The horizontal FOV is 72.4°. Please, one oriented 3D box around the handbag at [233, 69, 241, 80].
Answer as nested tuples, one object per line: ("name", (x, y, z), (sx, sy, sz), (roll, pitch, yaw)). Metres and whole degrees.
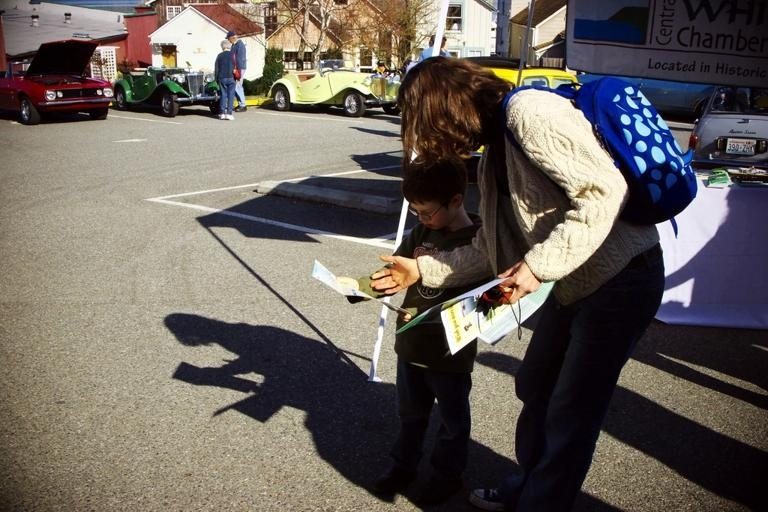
("handbag", (-4.843, -5.894, 17.137), (0.159, 0.298, 0.302), (-5, 26, 7))
